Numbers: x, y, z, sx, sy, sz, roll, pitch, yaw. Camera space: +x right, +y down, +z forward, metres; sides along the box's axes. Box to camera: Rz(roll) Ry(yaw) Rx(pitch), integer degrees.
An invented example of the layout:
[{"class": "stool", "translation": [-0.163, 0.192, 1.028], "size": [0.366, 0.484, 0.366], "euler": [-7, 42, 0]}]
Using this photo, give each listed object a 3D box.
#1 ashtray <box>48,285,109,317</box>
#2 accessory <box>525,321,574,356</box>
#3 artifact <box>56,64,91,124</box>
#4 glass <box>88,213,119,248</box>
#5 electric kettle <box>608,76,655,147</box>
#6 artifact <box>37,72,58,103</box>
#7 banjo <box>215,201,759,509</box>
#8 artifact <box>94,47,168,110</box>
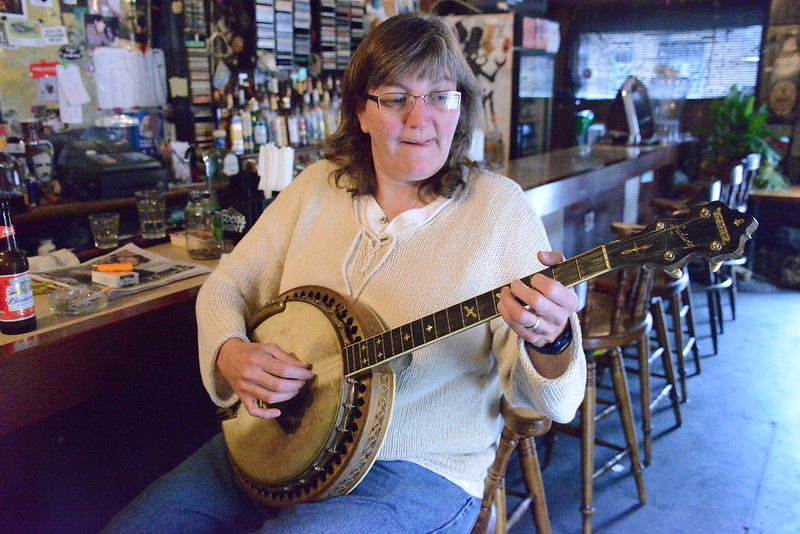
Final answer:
[{"class": "ashtray", "translation": [-1.264, 0.127, 2.389], "size": [0.165, 0.062, 0.125], "euler": [-5, 21, -23]}, {"class": "accessory", "translation": [0.461, 0.231, 1.908], "size": [0.109, 0.049, 0.100], "euler": [-14, 29, 25]}, {"class": "artifact", "translation": [-1.848, -0.970, 3.454], "size": [0.066, 0.285, 0.205], "euler": [-3, 8, 41]}, {"class": "glass", "translation": [-1.473, -0.182, 3.076], "size": [0.157, 0.185, 0.164], "euler": [0, 10, -13]}, {"class": "electric kettle", "translation": [2.089, -1.419, 5.536], "size": [0.322, 0.586, 0.609], "euler": [3, 17, 39]}, {"class": "artifact", "translation": [-1.945, -0.979, 3.385], "size": [0.031, 0.128, 0.135], "euler": [1, 10, 27]}, {"class": "banjo", "translation": [0.180, 0.445, 2.253], "size": [2.067, 0.812, 0.260], "euler": [-26, -31, 17]}, {"class": "artifact", "translation": [-1.635, -1.142, 3.703], "size": [0.406, 0.384, 0.103], "euler": [-9, 6, -44]}]
